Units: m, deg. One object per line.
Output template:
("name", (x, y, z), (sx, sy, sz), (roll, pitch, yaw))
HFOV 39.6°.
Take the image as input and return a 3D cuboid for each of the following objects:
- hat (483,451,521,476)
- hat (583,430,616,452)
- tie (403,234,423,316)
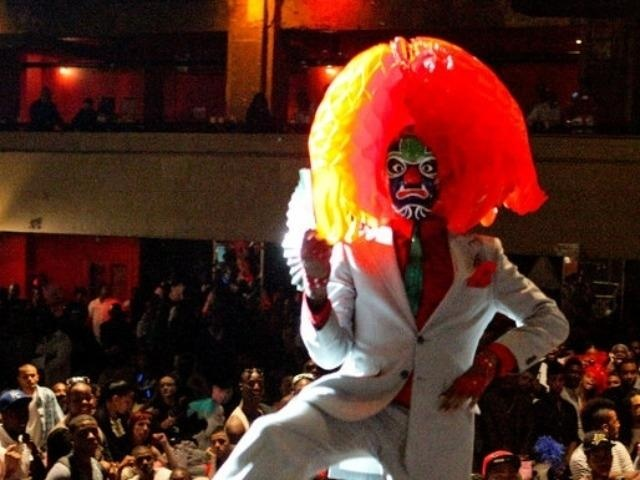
("hat", (1.626, 2.025, 8.086), (0.208, 0.139, 0.283), (8, -31, -40))
("hat", (2.647, 1.933, 8.516), (0.260, 0.171, 0.174), (0, -1, 14))
("tie", (0.644, 0.236, 6.183), (0.126, 0.571, 0.071), (0, -1, 2))
